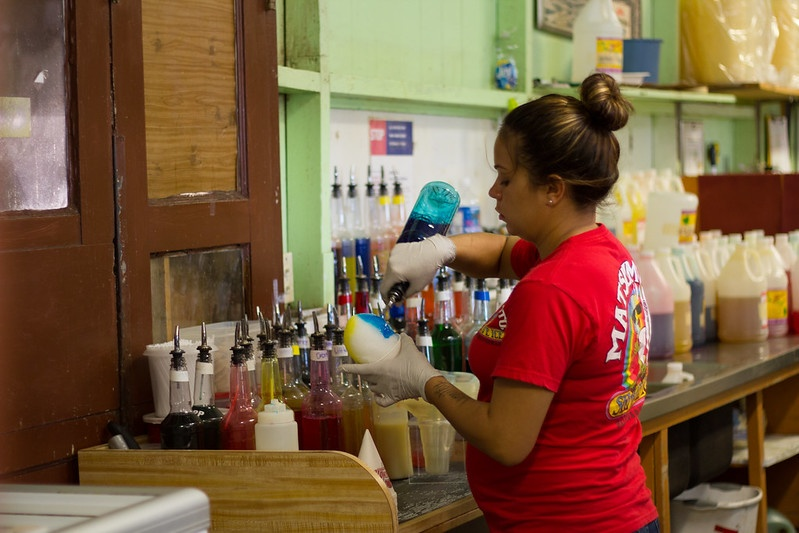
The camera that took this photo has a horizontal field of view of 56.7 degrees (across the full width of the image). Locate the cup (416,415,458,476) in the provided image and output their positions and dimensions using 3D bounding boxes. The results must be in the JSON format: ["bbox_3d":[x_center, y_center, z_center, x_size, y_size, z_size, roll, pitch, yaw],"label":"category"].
[{"bbox_3d":[0.104,0.525,2.230,0.143,0.167,0.150,-1,1,0],"label":"cup"}]

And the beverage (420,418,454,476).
[{"bbox_3d":[0.105,0.526,2.228,0.141,0.170,0.151,-1,0,-6],"label":"beverage"}]

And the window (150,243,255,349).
[{"bbox_3d":[-0.662,0.087,2.413,0.068,0.302,0.297,9,10,44],"label":"window"}]

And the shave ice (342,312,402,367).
[{"bbox_3d":[-0.076,0.193,1.971,0.142,0.110,0.109,18,-27,13],"label":"shave ice"}]
